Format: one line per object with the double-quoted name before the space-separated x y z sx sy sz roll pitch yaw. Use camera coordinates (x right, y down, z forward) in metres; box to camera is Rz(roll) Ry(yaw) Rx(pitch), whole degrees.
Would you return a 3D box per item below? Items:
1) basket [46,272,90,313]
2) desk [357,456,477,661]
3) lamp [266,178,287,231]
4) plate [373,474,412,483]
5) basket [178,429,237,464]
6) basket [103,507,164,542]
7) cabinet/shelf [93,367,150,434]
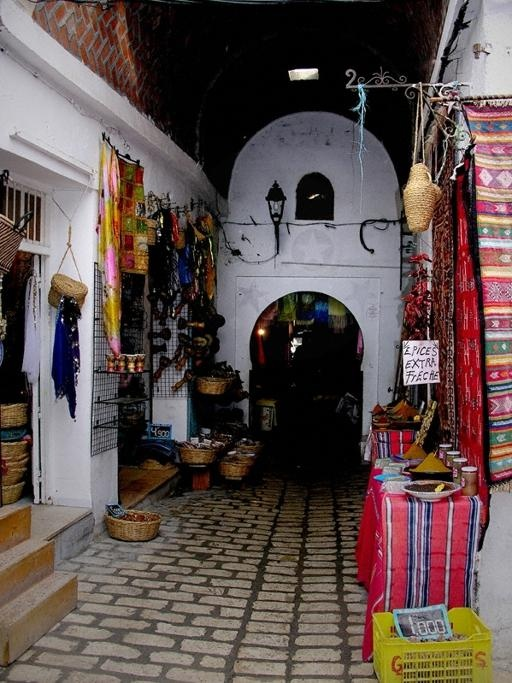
"basket" -1.616 -0.433 4.833 0.317 0.285 0.343 3 -2 -21
"desk" 0.787 1.210 3.513 0.641 0.715 0.988 19 -17 -22
"lamp" 0.311 -2.335 9.486 0.358 0.836 0.329 2 -2 9
"plate" 0.918 0.924 3.779 0.116 0.035 0.117 2 -5 -12
"basket" -0.729 1.486 7.677 0.523 0.348 0.946 2 -2 12
"basket" -1.136 1.706 5.171 0.365 0.147 0.324 3 -2 -4
"cabinet/shelf" -1.469 0.650 6.102 0.349 0.782 1.059 0 0 6
